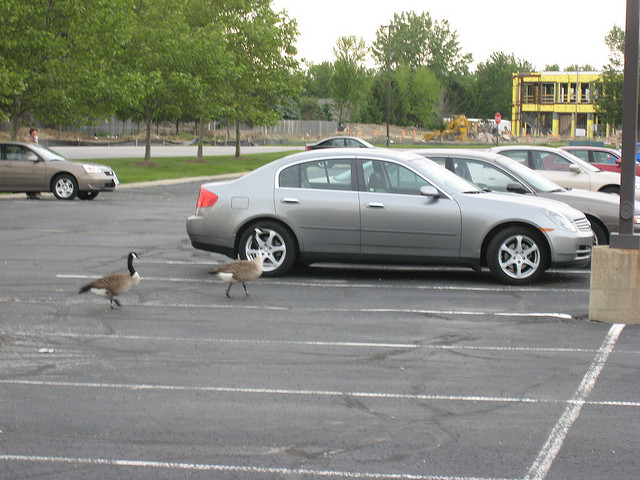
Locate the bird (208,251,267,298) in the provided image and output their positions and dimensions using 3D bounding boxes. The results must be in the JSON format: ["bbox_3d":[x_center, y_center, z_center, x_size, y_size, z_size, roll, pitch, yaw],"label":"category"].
[{"bbox_3d":[-1.049,0.455,11.338,0.932,0.786,0.398,9,-4,1],"label":"bird"}]

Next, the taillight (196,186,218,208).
[{"bbox_3d":[-1.843,-0.681,12.917,0.365,0.220,0.239,6,0,2],"label":"taillight"}]

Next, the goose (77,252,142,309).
[{"bbox_3d":[-2.817,0.471,10.660,0.838,0.931,0.612,2,12,-30],"label":"goose"}]

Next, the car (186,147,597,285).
[{"bbox_3d":[1.214,-0.321,12.803,6.727,2.544,2.736,1,3,5],"label":"car"}]
